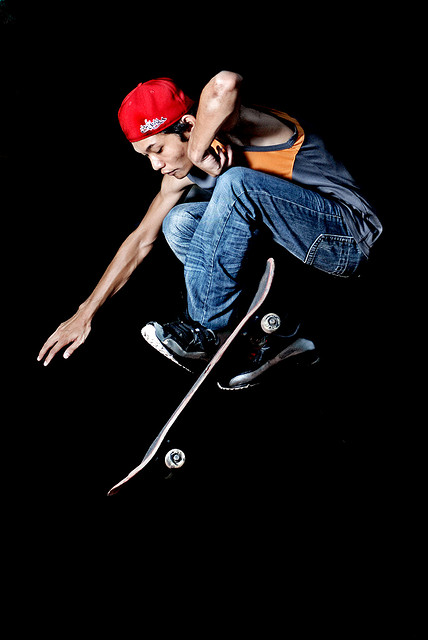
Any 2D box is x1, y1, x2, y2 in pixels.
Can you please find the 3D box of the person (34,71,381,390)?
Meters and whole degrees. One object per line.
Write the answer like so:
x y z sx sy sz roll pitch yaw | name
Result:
-0.032 -0.325 2.363 1.225 1.080 0.657 -2 -4 8 | person

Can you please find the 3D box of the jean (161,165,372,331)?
0.200 -0.298 2.587 0.772 0.517 0.784 -8 6 -32 | jean

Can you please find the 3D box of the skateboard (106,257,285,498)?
-0.012 0.050 2.387 0.199 1.291 0.334 28 -12 14 | skateboard
